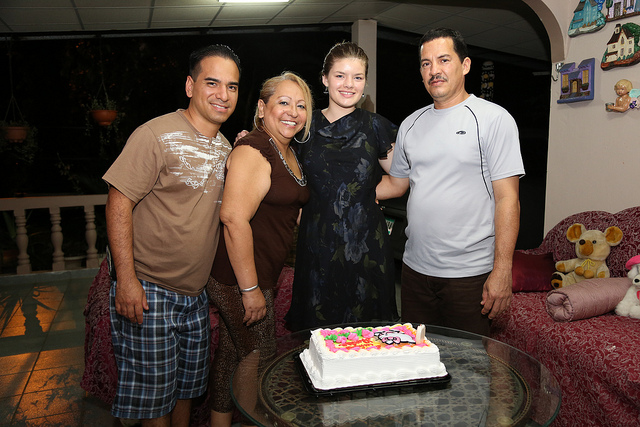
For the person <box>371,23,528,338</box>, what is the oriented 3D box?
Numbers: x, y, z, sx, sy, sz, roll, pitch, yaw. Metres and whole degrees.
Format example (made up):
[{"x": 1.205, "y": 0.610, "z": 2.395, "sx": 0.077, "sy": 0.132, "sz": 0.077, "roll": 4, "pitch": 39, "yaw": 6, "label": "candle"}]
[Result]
[{"x": 0.835, "y": -0.192, "z": 2.793, "sx": 0.840, "sy": 1.963, "sz": 0.371, "roll": 4, "pitch": 14, "yaw": 30, "label": "person"}]

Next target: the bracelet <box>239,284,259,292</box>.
[{"x": -0.418, "y": 0.444, "z": 2.564, "sx": 0.104, "sy": 0.034, "sz": 0.035, "roll": -6, "pitch": 13, "yaw": -12, "label": "bracelet"}]

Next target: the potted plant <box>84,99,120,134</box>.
[{"x": -3.399, "y": -1.580, "z": 6.889, "sx": 0.524, "sy": 0.450, "sz": 0.544, "roll": 8, "pitch": 9, "yaw": 39, "label": "potted plant"}]

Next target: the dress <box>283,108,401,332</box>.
[{"x": 0.169, "y": -0.022, "z": 2.981, "sx": 0.666, "sy": 1.476, "sz": 0.591, "roll": 0, "pitch": 12, "yaw": 1, "label": "dress"}]

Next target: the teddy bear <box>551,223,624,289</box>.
[{"x": 2.306, "y": 0.303, "z": 3.956, "sx": 0.531, "sy": 0.773, "sz": 0.604, "roll": 1, "pitch": 4, "yaw": -27, "label": "teddy bear"}]

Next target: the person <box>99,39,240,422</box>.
[{"x": -0.873, "y": 0.185, "z": 2.589, "sx": 0.909, "sy": 2.310, "sz": 0.328, "roll": -10, "pitch": 14, "yaw": -28, "label": "person"}]

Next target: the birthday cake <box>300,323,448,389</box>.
[{"x": 0.299, "y": 0.752, "z": 2.367, "sx": 0.772, "sy": 0.235, "sz": 0.536, "roll": 2, "pitch": 1, "yaw": -15, "label": "birthday cake"}]
